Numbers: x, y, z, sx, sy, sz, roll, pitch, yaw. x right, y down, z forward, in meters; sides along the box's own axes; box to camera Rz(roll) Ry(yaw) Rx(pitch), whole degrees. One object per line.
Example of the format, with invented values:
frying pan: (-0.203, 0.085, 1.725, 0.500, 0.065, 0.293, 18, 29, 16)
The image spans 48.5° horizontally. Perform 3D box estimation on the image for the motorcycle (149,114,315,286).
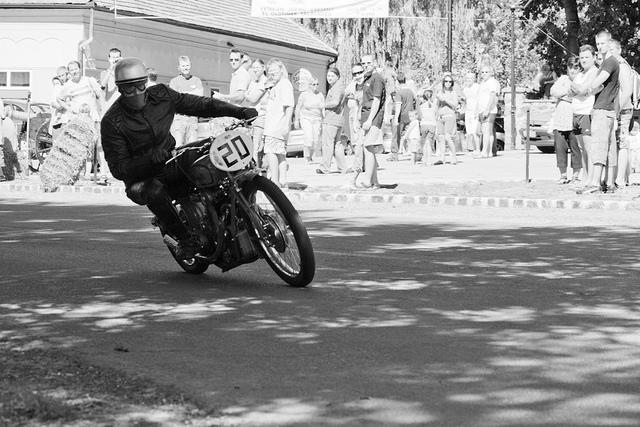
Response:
motorcycle: (-0.798, -0.012, 6.970, 1.030, 1.234, 2.334, -26, 11, -32)

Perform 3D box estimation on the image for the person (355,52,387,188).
person: (1.064, -1.871, 14.834, 0.599, 2.811, 0.999, -1, 8, 0)

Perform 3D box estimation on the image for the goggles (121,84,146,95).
goggles: (-1.831, -1.210, 6.961, 0.222, 0.096, 0.078, -2, 8, -12)
